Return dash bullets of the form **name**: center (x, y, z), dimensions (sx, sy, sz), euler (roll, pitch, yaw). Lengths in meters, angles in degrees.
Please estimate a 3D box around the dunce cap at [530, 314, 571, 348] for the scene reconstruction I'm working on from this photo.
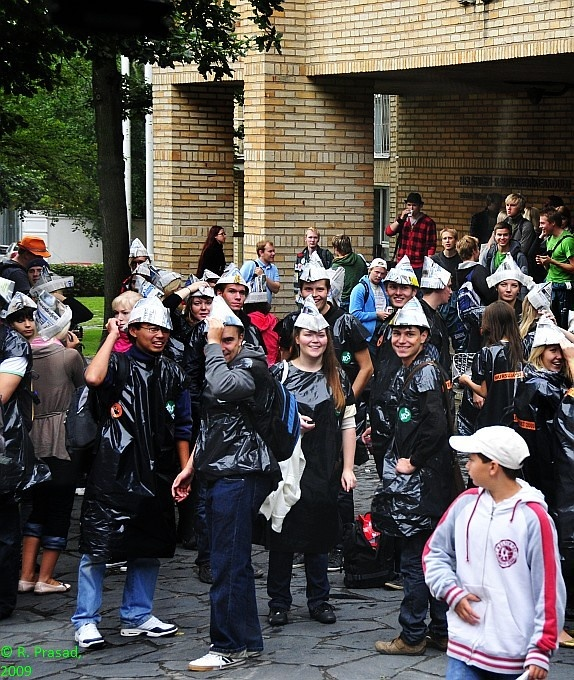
- **dunce cap**: center (1.443, -0.045, 5.107), dimensions (0.193, 0.182, 0.159), euler (9, -24, -21)

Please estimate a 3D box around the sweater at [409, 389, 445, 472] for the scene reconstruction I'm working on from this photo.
- **sweater**: center (0.719, 0.462, 4.657), dimensions (0.105, 0.339, 0.266), euler (10, 1, -28)

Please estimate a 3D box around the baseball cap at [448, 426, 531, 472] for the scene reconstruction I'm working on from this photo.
- **baseball cap**: center (0.700, 0.356, 3.211), dimensions (0.236, 0.109, 0.146), euler (12, 18, 17)

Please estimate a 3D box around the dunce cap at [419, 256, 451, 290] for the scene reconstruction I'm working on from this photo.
- **dunce cap**: center (1.103, -0.476, 6.920), dimensions (0.236, 0.231, 0.221), euler (-12, -15, -11)

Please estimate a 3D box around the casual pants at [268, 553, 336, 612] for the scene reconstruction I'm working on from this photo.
- **casual pants**: center (0.057, 1.290, 5.043), dimensions (0.328, 0.656, 0.150), euler (-4, 41, -3)

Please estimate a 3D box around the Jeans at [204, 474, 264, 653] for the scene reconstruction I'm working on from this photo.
- **Jeans**: center (-0.241, 1.074, 4.388), dimensions (0.269, 0.828, 0.205), euler (-1, 0, -3)

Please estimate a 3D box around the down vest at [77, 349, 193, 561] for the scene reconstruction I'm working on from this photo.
- **down vest**: center (-0.786, 0.593, 4.783), dimensions (0.591, 1.128, 0.260), euler (-2, 0, -20)

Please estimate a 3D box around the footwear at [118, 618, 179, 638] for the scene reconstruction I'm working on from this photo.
- **footwear**: center (-0.726, 1.519, 4.875), dimensions (0.311, 0.124, 0.108), euler (1, -6, -2)

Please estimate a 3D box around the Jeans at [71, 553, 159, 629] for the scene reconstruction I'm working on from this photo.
- **Jeans**: center (-0.918, 1.371, 4.958), dimensions (0.460, 0.534, 0.201), euler (6, -17, -18)

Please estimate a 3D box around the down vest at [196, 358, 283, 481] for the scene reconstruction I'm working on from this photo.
- **down vest**: center (-0.223, 0.401, 4.417), dimensions (0.308, 0.470, 0.486), euler (9, -18, -13)

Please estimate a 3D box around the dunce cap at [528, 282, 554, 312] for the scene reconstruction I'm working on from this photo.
- **dunce cap**: center (1.826, -0.309, 6.653), dimensions (0.163, 0.201, 0.303), euler (-16, -4, 1)
